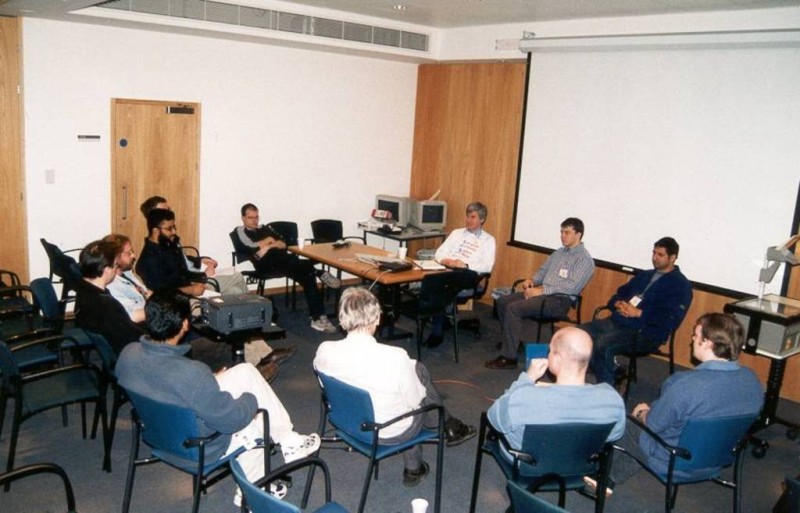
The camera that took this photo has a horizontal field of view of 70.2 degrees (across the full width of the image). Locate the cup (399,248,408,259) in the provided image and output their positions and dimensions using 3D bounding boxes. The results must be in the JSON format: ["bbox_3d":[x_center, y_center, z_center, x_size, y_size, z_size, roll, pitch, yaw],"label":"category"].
[{"bbox_3d":[0.028,-0.029,6.717,0.126,0.131,0.108,-8,15,-33],"label":"cup"}]

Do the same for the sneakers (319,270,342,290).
[{"bbox_3d":[-0.925,0.302,7.131,0.346,0.147,0.144,41,10,19],"label":"sneakers"}]

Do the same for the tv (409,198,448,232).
[{"bbox_3d":[0.379,-0.612,8.408,0.506,0.446,0.457,-3,8,-29],"label":"tv"}]

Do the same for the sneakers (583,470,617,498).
[{"bbox_3d":[1.529,1.756,4.349,0.227,0.096,0.410,-20,-39,38],"label":"sneakers"}]

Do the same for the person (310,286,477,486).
[{"bbox_3d":[-0.068,1.059,4.303,1.141,1.591,0.726,0,15,-9],"label":"person"}]

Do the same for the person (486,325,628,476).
[{"bbox_3d":[1.072,0.961,3.874,0.883,0.944,0.436,0,15,-8],"label":"person"}]

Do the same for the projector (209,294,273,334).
[{"bbox_3d":[-1.540,0.511,5.452,0.467,0.263,0.364,-7,13,-38],"label":"projector"}]

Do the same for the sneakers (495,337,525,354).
[{"bbox_3d":[1.302,1.062,6.731,0.376,0.154,0.124,-6,14,-23],"label":"sneakers"}]

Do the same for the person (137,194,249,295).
[{"bbox_3d":[-2.491,-0.146,6.752,0.953,1.243,0.726,-9,29,-18],"label":"person"}]

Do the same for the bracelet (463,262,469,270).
[{"bbox_3d":[0.784,0.134,6.730,0.050,0.038,0.095,3,13,4],"label":"bracelet"}]

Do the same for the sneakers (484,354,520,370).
[{"bbox_3d":[1.105,1.133,6.227,0.310,0.214,0.154,3,6,16],"label":"sneakers"}]

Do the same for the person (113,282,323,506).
[{"bbox_3d":[-1.463,1.108,4.453,0.784,1.591,1.089,27,39,30],"label":"person"}]

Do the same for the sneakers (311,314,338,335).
[{"bbox_3d":[-0.940,0.837,6.913,0.341,0.152,0.155,7,11,33],"label":"sneakers"}]

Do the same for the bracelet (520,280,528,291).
[{"bbox_3d":[1.497,0.354,6.854,0.075,0.096,0.159,-18,-7,6],"label":"bracelet"}]
